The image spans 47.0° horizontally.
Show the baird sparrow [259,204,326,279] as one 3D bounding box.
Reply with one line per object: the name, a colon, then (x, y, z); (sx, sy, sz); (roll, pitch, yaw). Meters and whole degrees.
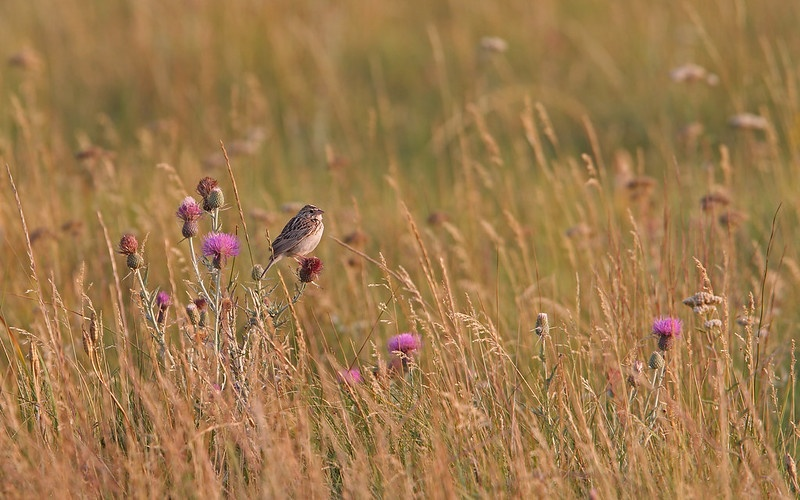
baird sparrow: (-0.928, -0.156, 8.205); (0.423, 0.640, 0.833); (5, 64, 7)
